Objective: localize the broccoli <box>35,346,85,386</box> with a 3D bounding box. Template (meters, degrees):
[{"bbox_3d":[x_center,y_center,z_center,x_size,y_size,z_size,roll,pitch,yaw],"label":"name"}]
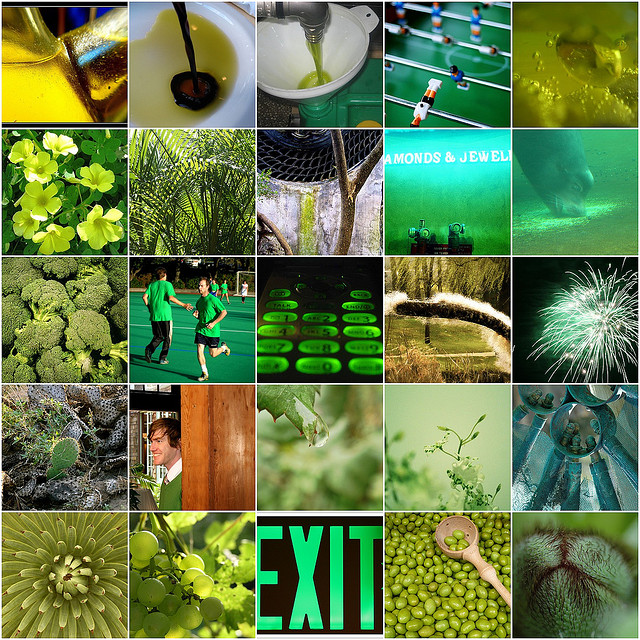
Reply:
[{"bbox_3d":[-1.284,0.229,2.601,0.173,0.056,0.200,2,94,-1],"label":"broccoli"}]

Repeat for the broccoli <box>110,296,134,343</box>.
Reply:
[{"bbox_3d":[-0.966,-0.011,2.619,0.141,0.069,0.203,0,94,15],"label":"broccoli"}]

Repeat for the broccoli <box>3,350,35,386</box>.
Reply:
[{"bbox_3d":[-1.478,0.241,2.609,0.124,0.052,0.171,0,94,1],"label":"broccoli"}]

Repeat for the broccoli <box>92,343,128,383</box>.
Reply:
[{"bbox_3d":[-1.021,0.211,2.607,0.155,0.051,0.174,17,91,-3],"label":"broccoli"}]

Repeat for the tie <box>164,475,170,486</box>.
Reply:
[{"bbox_3d":[-0.753,0.783,2.594,0.027,0.006,0.033,-32,83,-7],"label":"tie"}]

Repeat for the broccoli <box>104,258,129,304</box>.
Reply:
[{"bbox_3d":[-0.997,-0.190,2.617,0.129,0.053,0.209,-4,88,-2],"label":"broccoli"}]
